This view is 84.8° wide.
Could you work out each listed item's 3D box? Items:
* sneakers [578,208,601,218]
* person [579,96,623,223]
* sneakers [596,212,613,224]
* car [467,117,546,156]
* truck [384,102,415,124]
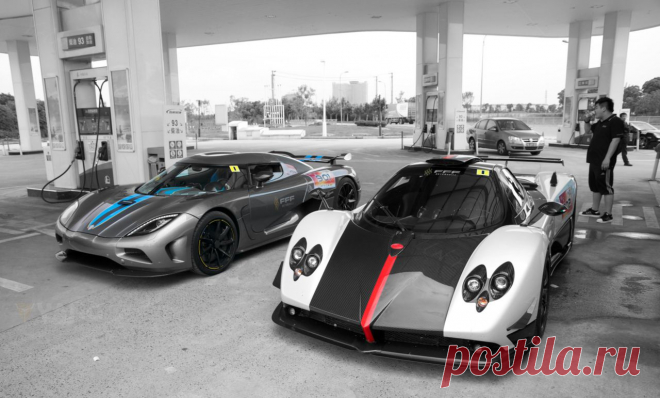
[{"bbox_3d":[5.806,0.296,8.146,0.446,0.195,0.184,7,14,34],"label":"sneakers"},{"bbox_3d":[5.850,-0.864,7.776,0.604,2.588,1.020,8,16,36],"label":"person"},{"bbox_3d":[5.916,0.378,7.761,0.490,0.194,0.171,-8,12,-30],"label":"sneakers"},{"bbox_3d":[8.647,-3.198,18.750,1.950,1.697,4.011,-2,7,-19],"label":"car"},{"bbox_3d":[12.952,-15.506,65.249,4.048,3.586,7.422,4,14,24],"label":"truck"}]
